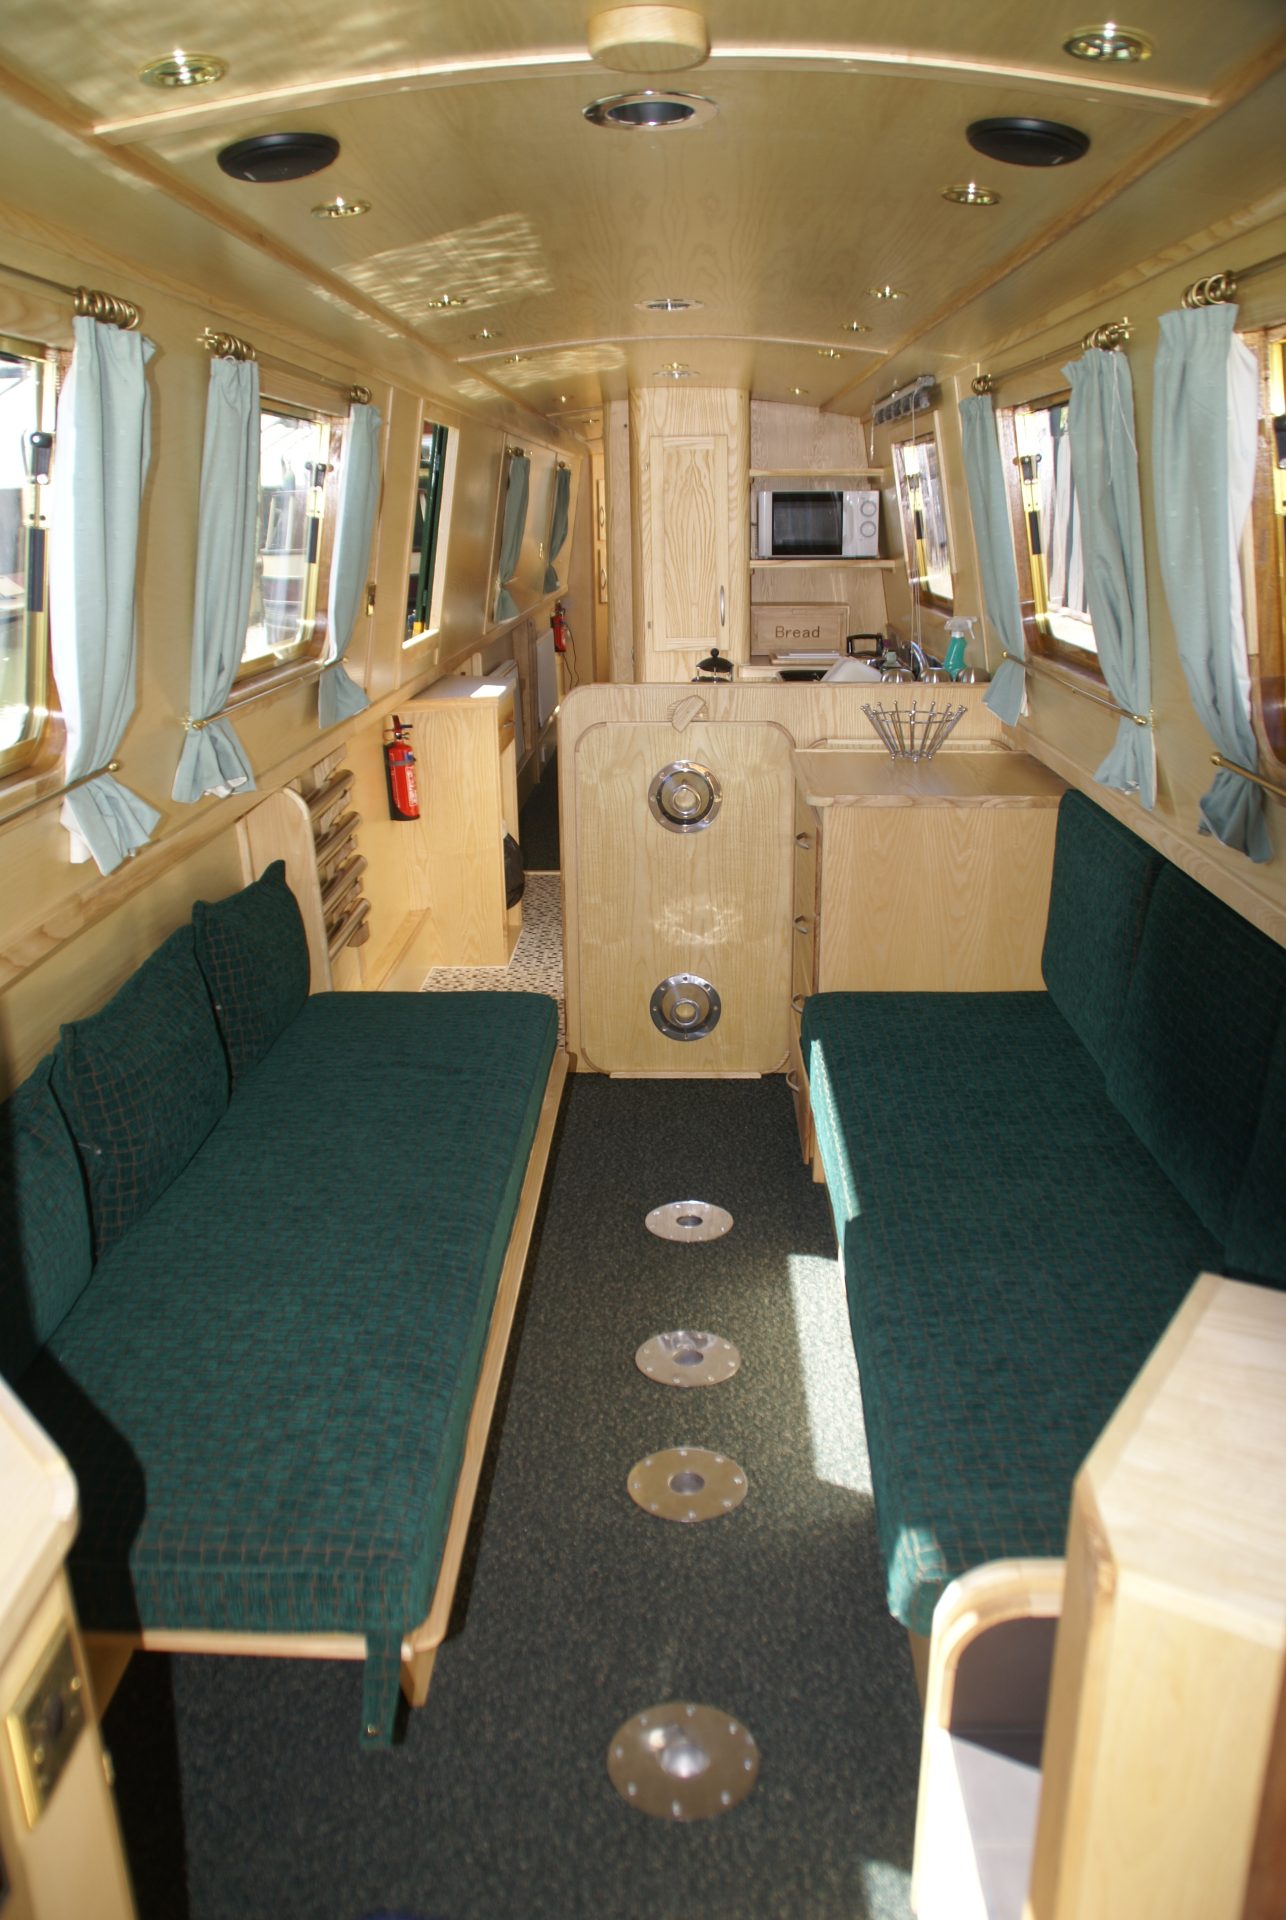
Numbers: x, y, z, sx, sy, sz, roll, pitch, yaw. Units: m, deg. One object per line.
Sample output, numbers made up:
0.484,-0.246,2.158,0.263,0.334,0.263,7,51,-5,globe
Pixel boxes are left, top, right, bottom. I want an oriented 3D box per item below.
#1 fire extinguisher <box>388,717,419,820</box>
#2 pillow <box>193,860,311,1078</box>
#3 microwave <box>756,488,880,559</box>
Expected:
-1.093,-0.850,5.470,0.118,0.476,0.176,2,14,8,fire extinguisher
-1.075,-0.043,3.493,0.126,0.479,0.706,-15,1,-33,pillow
0.955,-2.379,6.657,0.683,0.364,0.224,2,14,6,microwave
